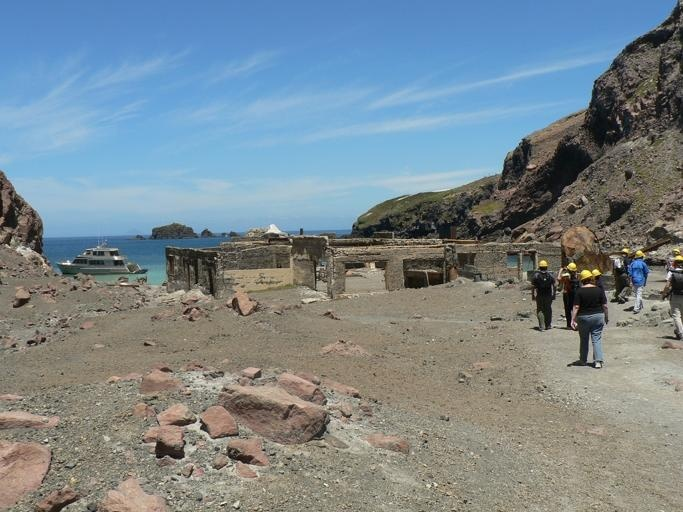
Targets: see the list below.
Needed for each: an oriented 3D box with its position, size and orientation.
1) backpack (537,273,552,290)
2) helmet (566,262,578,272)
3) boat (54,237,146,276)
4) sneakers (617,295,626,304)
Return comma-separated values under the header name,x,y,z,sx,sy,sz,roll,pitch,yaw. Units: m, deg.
name,x,y,z,sx,sy,sz,roll,pitch,yaw
backpack,6.592,0.790,15.450,0.587,0.541,0.235,-5,2,-23
helmet,7.953,0.391,16.632,0.434,0.187,0.444,6,21,37
boat,-34.400,0.571,68.531,9.428,4.895,7.380,-4,1,-19
sneakers,11.101,1.728,19.064,0.251,0.169,0.507,-20,8,2
